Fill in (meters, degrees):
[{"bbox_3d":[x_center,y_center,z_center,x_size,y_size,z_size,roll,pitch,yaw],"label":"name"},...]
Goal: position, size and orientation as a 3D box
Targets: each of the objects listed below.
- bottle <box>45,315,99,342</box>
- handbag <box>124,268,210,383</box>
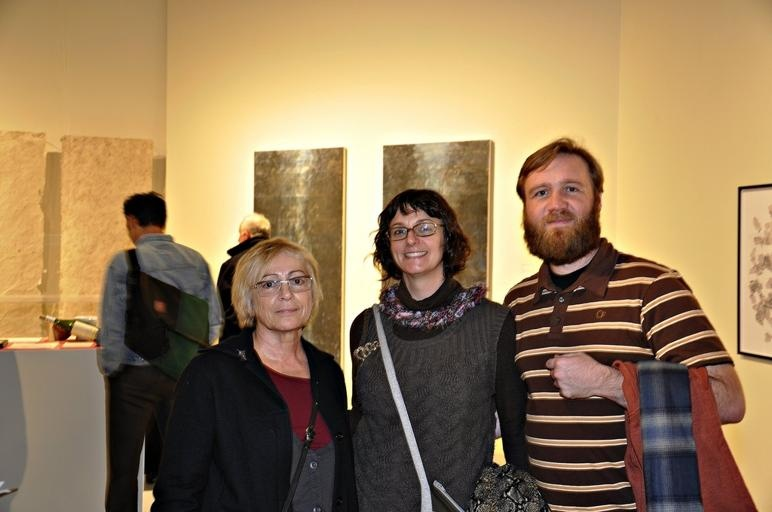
[{"bbox_3d":[-2.410,0.553,4.998,0.410,0.207,0.129,-1,1,9],"label":"bottle"},{"bbox_3d":[-1.570,0.451,5.092,0.907,0.868,0.662,0,5,-19],"label":"handbag"}]
